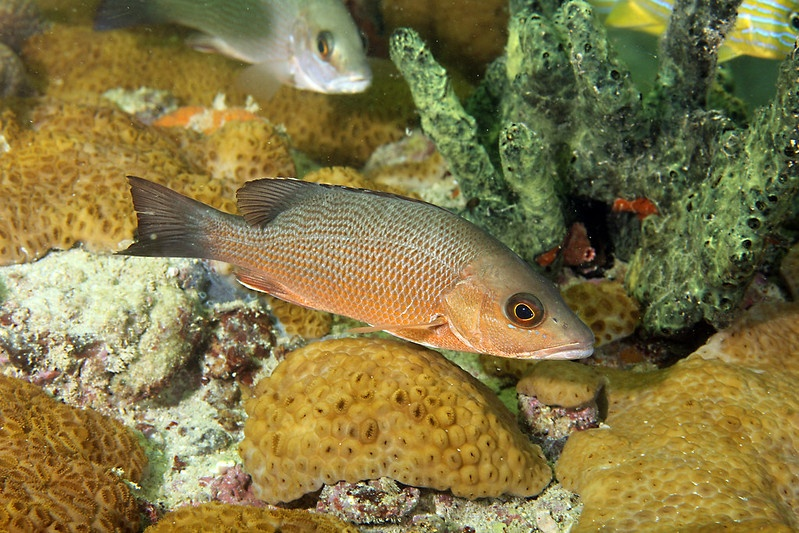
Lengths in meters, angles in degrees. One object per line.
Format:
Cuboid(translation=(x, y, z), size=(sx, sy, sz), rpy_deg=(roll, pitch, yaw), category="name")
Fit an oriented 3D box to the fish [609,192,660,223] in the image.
Cuboid(translation=(1.830, -0.468, 6.988), size=(0.254, 0.168, 0.131), rpy_deg=(15, 32, 36), category="fish")
